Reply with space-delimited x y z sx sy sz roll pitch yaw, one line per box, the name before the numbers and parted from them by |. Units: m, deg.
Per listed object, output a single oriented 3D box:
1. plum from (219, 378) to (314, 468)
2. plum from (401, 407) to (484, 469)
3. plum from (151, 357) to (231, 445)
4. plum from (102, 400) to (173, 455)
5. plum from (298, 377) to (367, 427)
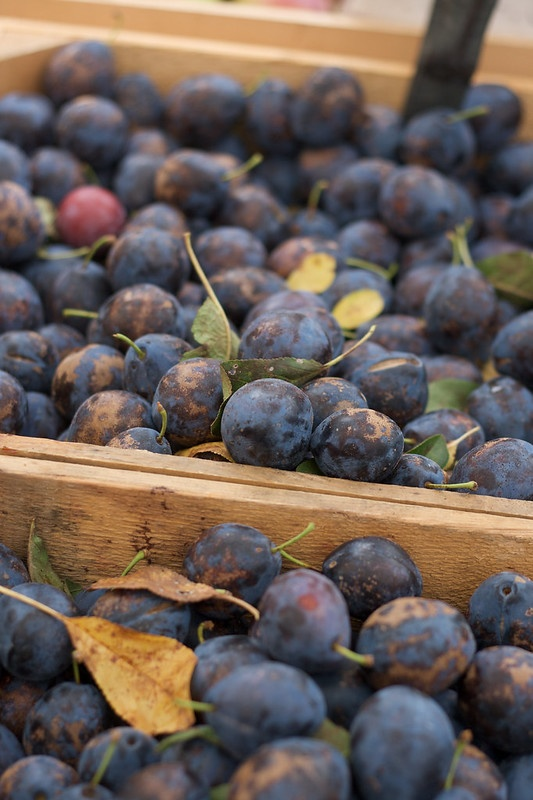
plum | -0.001 0.037 0.984 0.115 0.122 0.083 13 39 2
plum | 0.288 0.063 1.274 0.133 0.067 0.089 0 16 5
plum | -0.104 0.001 1.112 0.096 0.090 0.123 25 19 13
plum | -0.181 0.039 1.058 0.041 0.031 0.078 -3 12 23
plum | 0.095 0.003 1.095 0.075 0.081 0.073 28 -16 -21
